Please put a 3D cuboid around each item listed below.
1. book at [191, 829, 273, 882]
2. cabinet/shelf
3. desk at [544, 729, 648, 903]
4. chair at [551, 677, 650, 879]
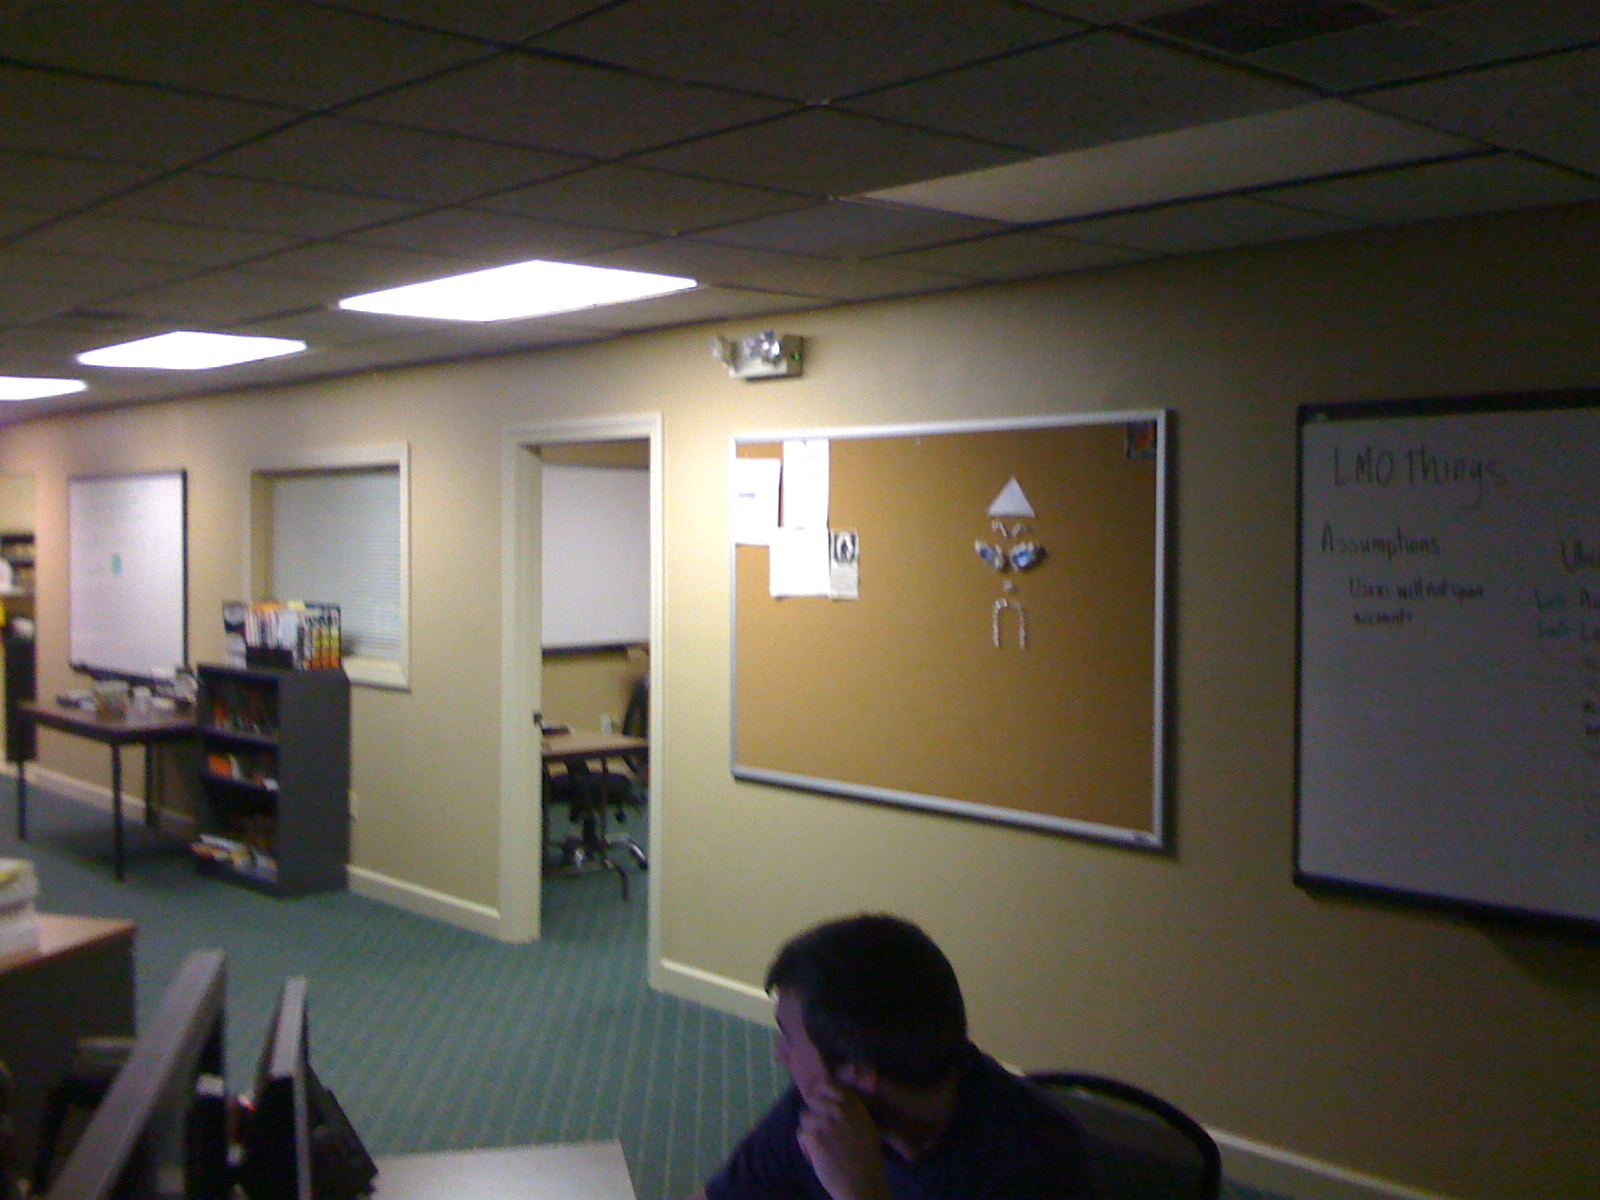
[{"bbox_3d":[-3.269,1.470,6.844,0.490,0.111,0.183,15,-11,35],"label":"book"},{"bbox_3d":[-3.031,1.026,6.826,1.177,1.422,0.459,-3,-5,45],"label":"cabinet/shelf"},{"bbox_3d":[-1.296,1.269,7.407,0.753,0.645,1.219,2,-2,-28],"label":"desk"},{"bbox_3d":[-1.325,1.074,7.427,0.632,1.237,1.179,0,-8,-21],"label":"chair"}]
